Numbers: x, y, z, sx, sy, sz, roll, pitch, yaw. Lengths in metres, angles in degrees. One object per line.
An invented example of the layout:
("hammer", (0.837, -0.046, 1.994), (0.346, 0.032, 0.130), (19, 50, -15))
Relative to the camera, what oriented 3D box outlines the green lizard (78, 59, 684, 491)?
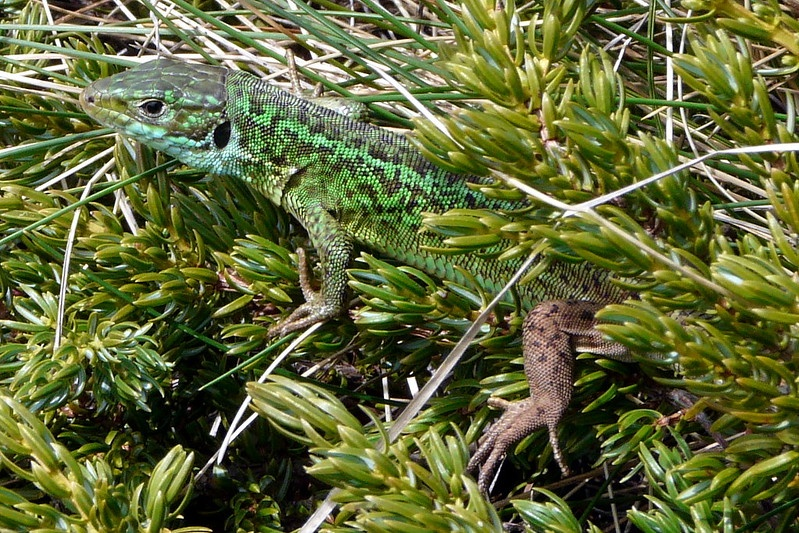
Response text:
("green lizard", (0.027, -0.175, 2.898), (2.395, 0.466, 1.339), (19, 39, -4))
